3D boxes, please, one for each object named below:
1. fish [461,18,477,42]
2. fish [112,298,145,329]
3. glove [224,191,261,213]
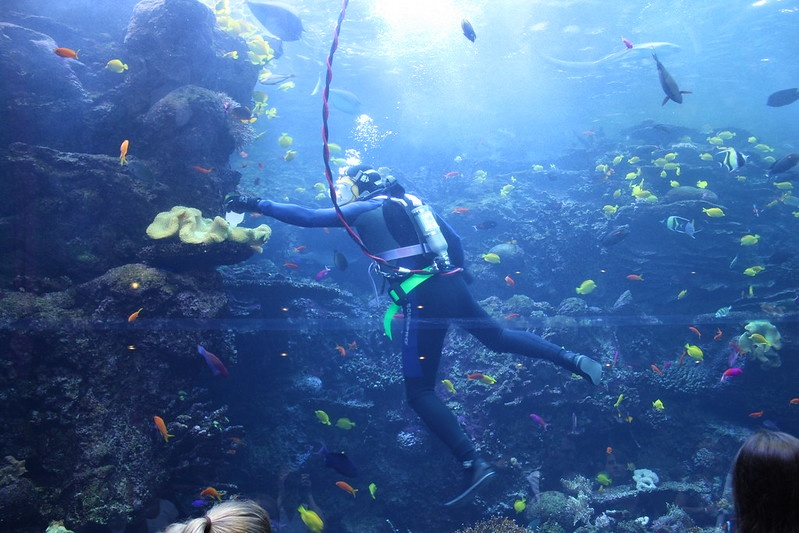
[{"bbox_3d":[1.949,-6.713,18.579,0.274,0.592,0.451,-5,6,38],"label":"fish"},{"bbox_3d":[-7.185,1.308,17.262,0.770,0.423,0.103,-8,5,-4],"label":"fish"},{"bbox_3d":[-4.277,-1.691,17.336,0.625,0.257,0.706,2,-5,-33],"label":"glove"}]
